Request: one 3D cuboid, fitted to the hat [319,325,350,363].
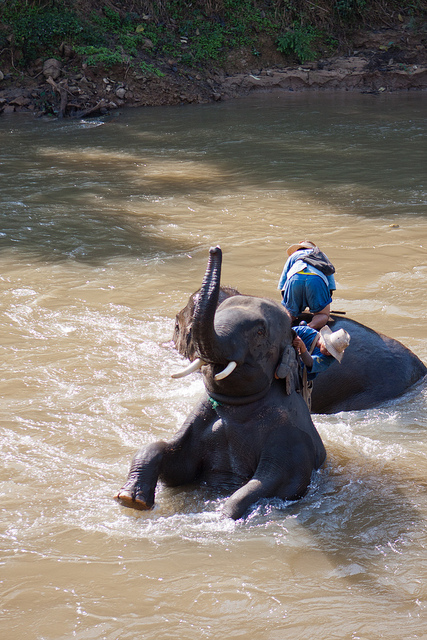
[{"bbox_3d":[0.569,0.105,3.736,0.094,0.152,0.161,-29,-31,23],"label":"hat"}]

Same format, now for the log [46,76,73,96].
[{"bbox_3d":[-3.699,-5.526,18.466,0.715,0.430,0.336,9,13,43],"label":"log"}]

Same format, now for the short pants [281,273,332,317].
[{"bbox_3d":[0.567,-0.137,4.991,0.350,0.333,0.376,-4,11,2],"label":"short pants"}]

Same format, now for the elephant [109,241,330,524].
[{"bbox_3d":[0.049,0.249,3.427,0.617,1.176,1.037,9,13,37],"label":"elephant"}]

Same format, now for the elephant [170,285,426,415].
[{"bbox_3d":[0.405,0.201,5.449,1.756,0.676,0.944,17,25,31],"label":"elephant"}]
